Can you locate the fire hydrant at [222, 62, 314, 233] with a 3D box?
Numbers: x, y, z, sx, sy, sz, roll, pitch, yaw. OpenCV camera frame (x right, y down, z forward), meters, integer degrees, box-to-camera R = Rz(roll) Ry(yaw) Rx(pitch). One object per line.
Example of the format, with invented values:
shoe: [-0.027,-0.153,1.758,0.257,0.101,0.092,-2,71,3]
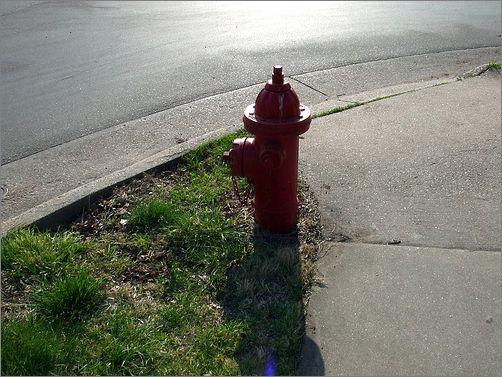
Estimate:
fire hydrant: [0.166,-0.296,3.891,0.769,1.504,0.551,-2,35,8]
